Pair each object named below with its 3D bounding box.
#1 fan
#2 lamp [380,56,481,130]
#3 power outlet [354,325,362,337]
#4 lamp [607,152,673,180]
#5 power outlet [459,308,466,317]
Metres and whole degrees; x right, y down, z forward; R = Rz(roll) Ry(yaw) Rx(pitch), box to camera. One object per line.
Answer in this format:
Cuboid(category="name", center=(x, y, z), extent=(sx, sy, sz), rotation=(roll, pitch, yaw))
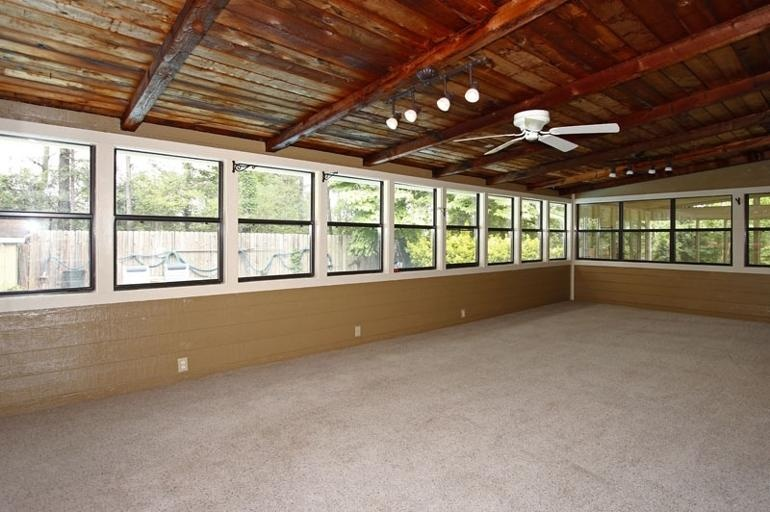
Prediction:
Cuboid(category="fan", center=(1.922, -1.504, 5.586), extent=(1.086, 0.499, 1.670), rotation=(1, 6, 9))
Cuboid(category="lamp", center=(0.469, -1.722, 5.034), extent=(0.330, 0.483, 1.446), rotation=(-2, 0, -42))
Cuboid(category="power outlet", center=(-0.446, 1.186, 7.388), extent=(0.218, 0.218, 0.034), rotation=(5, -7, -42))
Cuboid(category="lamp", center=(5.109, -1.740, 9.309), extent=(1.119, 0.345, 1.968), rotation=(4, 7, 30))
Cuboid(category="power outlet", center=(1.466, 1.073, 8.868), extent=(0.172, 0.182, 0.021), rotation=(18, -17, -39))
